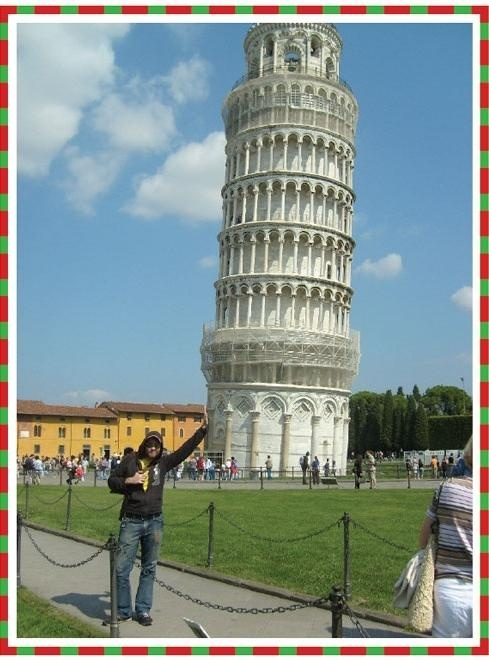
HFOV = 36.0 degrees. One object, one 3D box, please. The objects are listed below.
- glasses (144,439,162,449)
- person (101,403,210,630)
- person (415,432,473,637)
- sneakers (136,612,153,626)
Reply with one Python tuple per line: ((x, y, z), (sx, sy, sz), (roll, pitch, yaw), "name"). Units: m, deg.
((-1.036, 1.290, 8.587), (0.108, 0.079, 0.144), (7, -17, -2), "glasses")
((-1.109, 2.191, 8.511), (0.948, 2.068, 0.691), (7, -8, -20), "person")
((1.687, 1.683, 6.187), (0.365, 1.593, 0.446), (5, -8, -5), "person")
((-1.080, 3.140, 8.206), (0.083, 0.091, 0.221), (12, 8, -23), "sneakers")
